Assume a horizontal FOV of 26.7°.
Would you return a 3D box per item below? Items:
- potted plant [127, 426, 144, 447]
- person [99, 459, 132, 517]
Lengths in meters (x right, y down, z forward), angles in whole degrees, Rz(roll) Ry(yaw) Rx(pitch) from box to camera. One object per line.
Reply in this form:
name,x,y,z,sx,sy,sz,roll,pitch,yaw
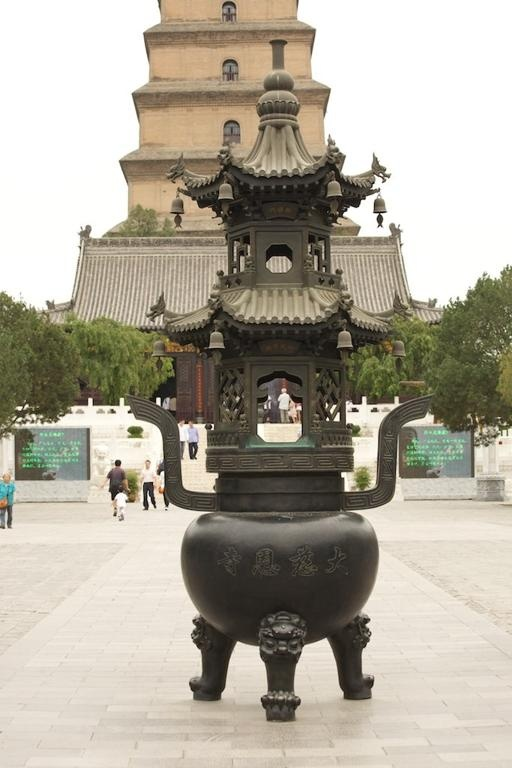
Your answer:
potted plant,-3.584,1.522,31.110,0.541,0.565,0.494,0,1,-38
person,-2.695,1.968,20.834,0.446,0.996,0.282,7,12,14
